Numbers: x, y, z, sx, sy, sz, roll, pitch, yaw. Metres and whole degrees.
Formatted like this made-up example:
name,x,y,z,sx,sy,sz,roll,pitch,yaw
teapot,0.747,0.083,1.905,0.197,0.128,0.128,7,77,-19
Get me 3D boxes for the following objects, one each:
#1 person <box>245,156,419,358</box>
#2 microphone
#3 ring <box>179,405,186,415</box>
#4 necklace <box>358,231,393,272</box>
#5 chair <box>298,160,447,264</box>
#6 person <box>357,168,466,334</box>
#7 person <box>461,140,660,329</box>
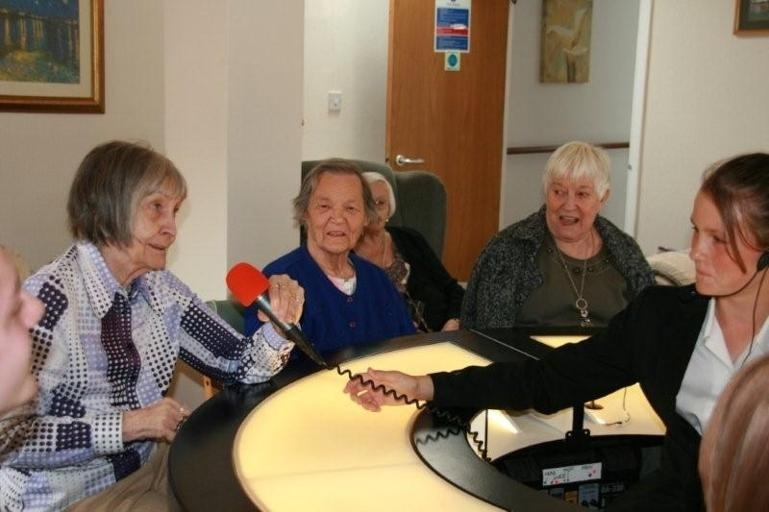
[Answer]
name,x,y,z,sx,sy,sz,roll,pitch,yaw
person,-0.218,0.020,2.691,0.866,0.831,0.450,-4,9,-29
microphone,-0.316,0.177,1.788,0.128,0.393,0.128,-42,7,-6
ring,-0.657,0.505,1.996,0.017,0.008,0.023,-10,16,-32
necklace,-0.046,-0.025,3.699,0.239,0.256,0.162,2,-14,-19
chair,-0.041,-0.317,4.529,0.753,0.988,0.777,-1,0,36
person,0.138,-0.059,4.061,0.640,1.053,0.754,6,16,-9
person,0.988,-0.026,3.228,1.004,1.073,0.567,-1,13,-1
